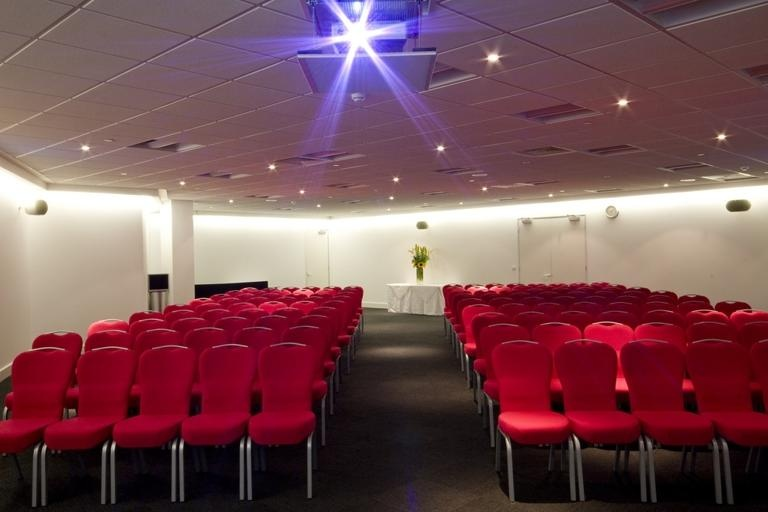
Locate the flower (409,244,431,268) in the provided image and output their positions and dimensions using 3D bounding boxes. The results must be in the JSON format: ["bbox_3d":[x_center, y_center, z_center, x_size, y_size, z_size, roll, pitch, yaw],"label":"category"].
[{"bbox_3d":[1.208,0.008,17.662,1.005,0.920,0.843,1,-7,-14],"label":"flower"}]

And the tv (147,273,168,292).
[{"bbox_3d":[-6.167,0.739,13.080,0.263,0.427,0.562,-6,-6,39],"label":"tv"}]

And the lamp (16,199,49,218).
[{"bbox_3d":[-7.180,-0.967,9.756,0.478,0.097,0.447,-9,-17,0],"label":"lamp"}]

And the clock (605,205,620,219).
[{"bbox_3d":[6.788,-1.323,14.427,0.369,0.385,0.219,0,5,19],"label":"clock"}]

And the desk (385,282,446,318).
[{"bbox_3d":[1.040,1.511,16.783,0.425,1.078,2.536,-7,7,-44],"label":"desk"}]

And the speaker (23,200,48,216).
[{"bbox_3d":[-7.162,-0.955,9.834,0.408,0.337,0.381,-3,-2,8],"label":"speaker"}]

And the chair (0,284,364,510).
[{"bbox_3d":[-2.460,1.659,6.555,3.429,1.433,3.612,-1,4,0],"label":"chair"}]
